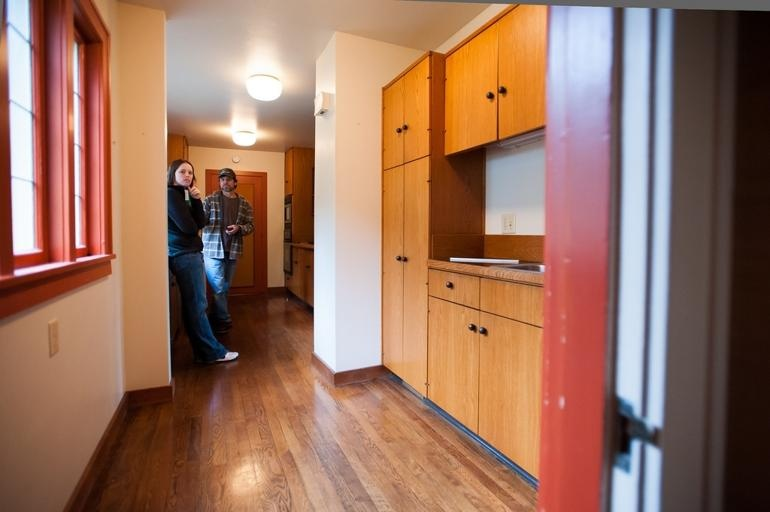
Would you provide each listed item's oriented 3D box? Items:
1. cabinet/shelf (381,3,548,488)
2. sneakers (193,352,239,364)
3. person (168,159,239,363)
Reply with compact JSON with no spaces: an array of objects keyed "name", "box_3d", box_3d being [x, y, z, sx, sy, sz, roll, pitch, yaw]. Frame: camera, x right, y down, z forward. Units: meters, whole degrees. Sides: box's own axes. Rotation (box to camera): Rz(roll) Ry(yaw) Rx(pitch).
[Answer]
[{"name":"cabinet/shelf","box_3d":[0.419,-0.181,2.787,0.576,1.995,1.554,-2,11,-14]},{"name":"sneakers","box_3d":[-1.125,0.649,3.750,0.260,0.093,0.091,-2,5,-35]},{"name":"person","box_3d":[-1.219,0.051,3.639,0.406,1.331,0.290,-6,13,-32]}]
